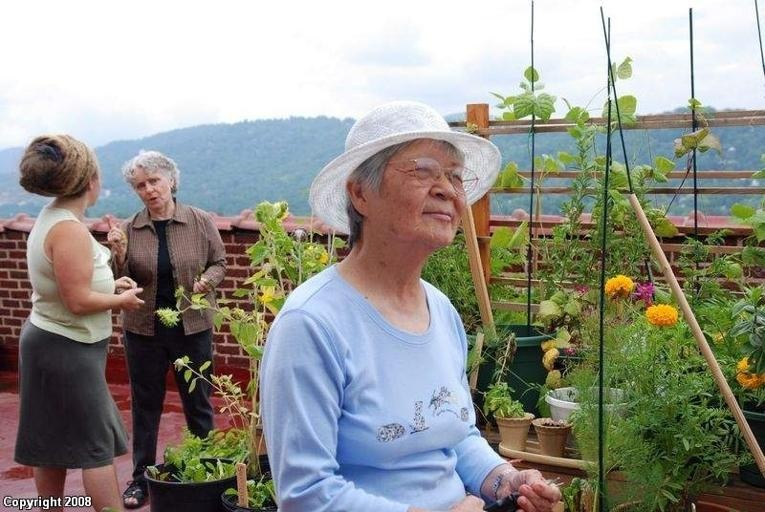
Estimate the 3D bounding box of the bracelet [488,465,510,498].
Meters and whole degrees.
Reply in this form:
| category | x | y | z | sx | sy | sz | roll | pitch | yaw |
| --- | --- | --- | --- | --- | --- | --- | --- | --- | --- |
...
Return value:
| category | x | y | z | sx | sy | sz | roll | pitch | yaw |
| --- | --- | --- | --- | --- | --- | --- | --- | --- | --- |
| bracelet | 0.531 | 1.025 | 2.847 | 0.030 | 0.106 | 0.104 | 28 | 35 | 21 |

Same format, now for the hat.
| category | x | y | z | sx | sy | sz | roll | pitch | yaw |
| --- | --- | --- | --- | --- | --- | --- | --- | --- | --- |
| hat | 0.073 | -0.483 | 2.917 | 0.793 | 0.385 | 0.844 | 2 | -20 | -14 |

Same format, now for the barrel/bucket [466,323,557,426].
| category | x | y | z | sx | sy | sz | roll | pitch | yaw |
| --- | --- | --- | --- | --- | --- | --- | --- | --- | --- |
| barrel/bucket | 0.953 | 0.870 | 4.774 | 0.651 | 0.539 | 0.692 | 0 | -6 | 0 |

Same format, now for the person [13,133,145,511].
| category | x | y | z | sx | sy | sz | roll | pitch | yaw |
| --- | --- | --- | --- | --- | --- | --- | --- | --- | --- |
| person | -2.066 | 0.468 | 4.134 | 0.700 | 2.541 | 0.426 | -1 | -1 | -25 |
